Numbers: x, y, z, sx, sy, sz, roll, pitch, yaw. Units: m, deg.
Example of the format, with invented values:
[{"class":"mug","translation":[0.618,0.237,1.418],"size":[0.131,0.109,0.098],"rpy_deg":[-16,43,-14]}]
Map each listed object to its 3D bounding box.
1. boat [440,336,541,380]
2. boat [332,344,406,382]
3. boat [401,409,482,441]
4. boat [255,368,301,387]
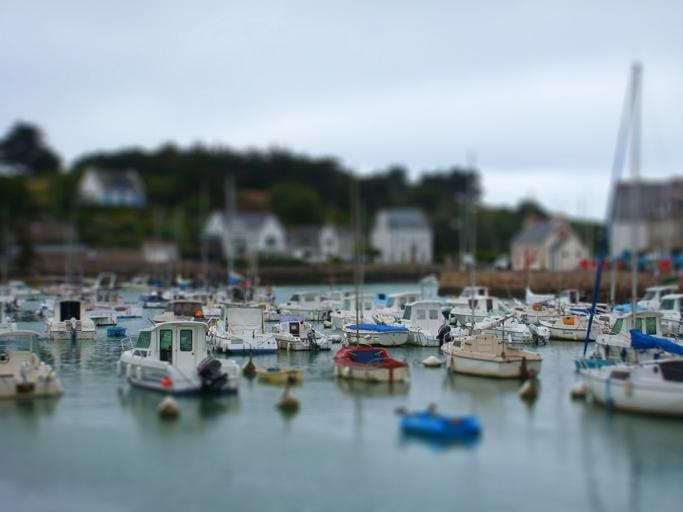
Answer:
[{"class":"boat","translation":[5.961,3.949,47.878],"size":[3.754,1.633,1.152],"rpy_deg":[0,2,23]},{"class":"boat","translation":[1.140,4.255,47.371],"size":[3.013,1.262,1.186],"rpy_deg":[0,2,29]},{"class":"boat","translation":[3.466,6.043,42.500],"size":[2.753,0.715,1.107],"rpy_deg":[0,2,24]},{"class":"boat","translation":[-2.448,4.693,47.287],"size":[1.838,0.544,1.313],"rpy_deg":[-1,2,8]}]
